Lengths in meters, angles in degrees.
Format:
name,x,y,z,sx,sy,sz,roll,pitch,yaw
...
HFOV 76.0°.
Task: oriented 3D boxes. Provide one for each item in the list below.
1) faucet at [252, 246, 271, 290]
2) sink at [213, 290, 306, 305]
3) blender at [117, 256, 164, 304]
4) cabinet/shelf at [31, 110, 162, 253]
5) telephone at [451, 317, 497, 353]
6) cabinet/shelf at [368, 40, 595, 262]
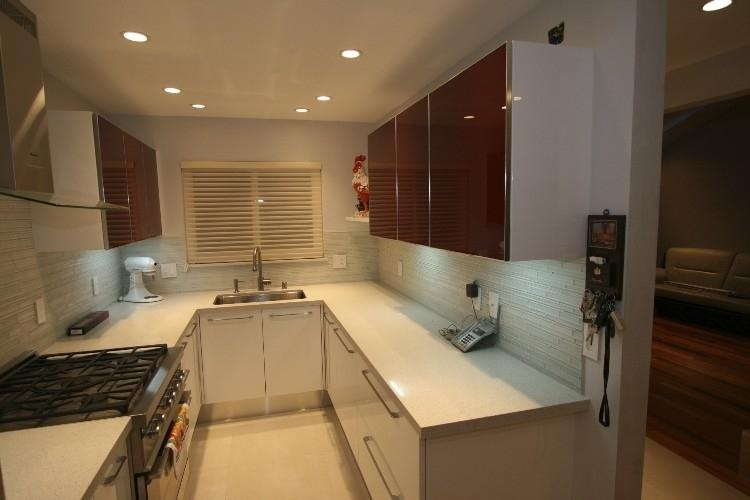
name,x,y,z,sx,sy,sz,roll,pitch,yaw
faucet,-1.149,0.181,4.824,0.186,0.443,0.278,-2,4,-13
sink,-1.136,0.459,4.727,0.851,0.102,0.253,-3,4,-16
blender,-2.153,0.247,4.532,0.485,0.482,0.282,-2,11,-23
cabinet/shelf,-1.987,-0.473,3.382,0.357,0.769,1.254,-2,4,-11
telephone,0.674,0.550,3.245,0.266,0.082,0.194,-29,18,-10
cabinet/shelf,0.652,-0.536,2.847,1.117,1.145,0.405,2,6,42
